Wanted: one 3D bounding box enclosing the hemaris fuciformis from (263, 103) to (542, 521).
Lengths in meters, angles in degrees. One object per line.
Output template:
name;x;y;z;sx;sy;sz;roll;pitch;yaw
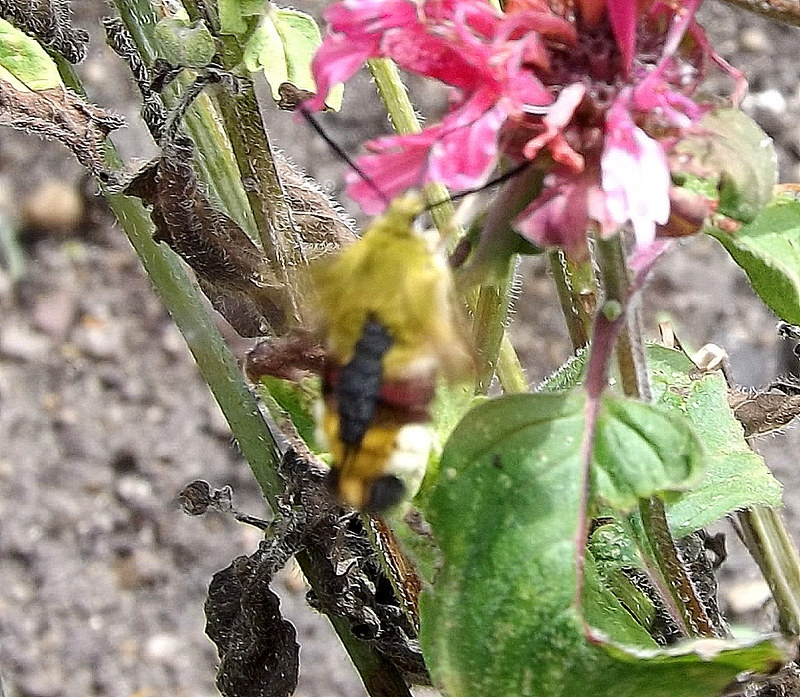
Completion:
hemaris fuciformis;0.000;-0.008;0.435;0.078;0.102;0.169;16;76;-15
